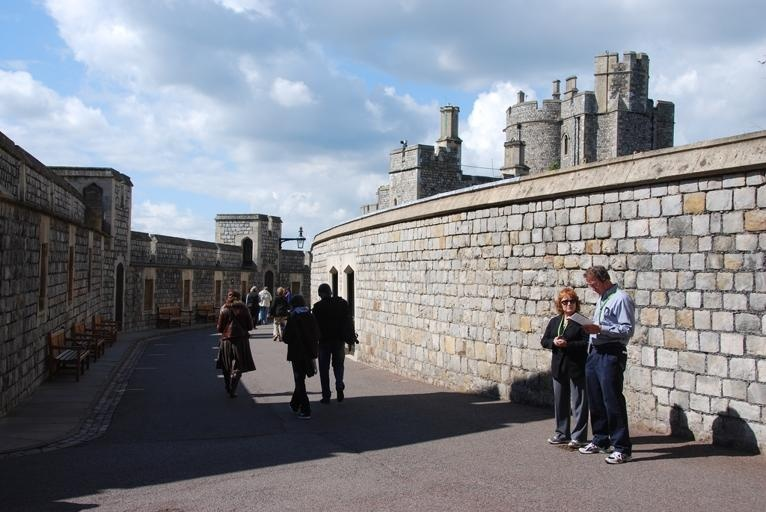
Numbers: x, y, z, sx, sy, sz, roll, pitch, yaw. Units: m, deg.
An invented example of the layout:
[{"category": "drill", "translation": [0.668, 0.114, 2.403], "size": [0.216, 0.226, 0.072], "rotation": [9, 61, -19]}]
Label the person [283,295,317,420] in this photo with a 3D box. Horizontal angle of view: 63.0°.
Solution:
[{"category": "person", "translation": [-1.414, 1.669, 10.773], "size": [0.591, 1.969, 0.957], "rotation": [-1, 2, -7]}]

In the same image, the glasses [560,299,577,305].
[{"category": "glasses", "translation": [2.574, 0.632, 8.652], "size": [0.197, 0.086, 0.078], "rotation": [0, 2, 8]}]

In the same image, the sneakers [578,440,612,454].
[{"category": "sneakers", "translation": [2.836, 2.566, 8.383], "size": [0.403, 0.198, 0.160], "rotation": [3, -4, 6]}]

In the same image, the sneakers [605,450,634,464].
[{"category": "sneakers", "translation": [3.062, 2.581, 8.109], "size": [0.375, 0.180, 0.140], "rotation": [4, 1, -11]}]

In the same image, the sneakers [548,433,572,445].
[{"category": "sneakers", "translation": [2.484, 2.552, 8.827], "size": [0.321, 0.145, 0.130], "rotation": [3, 2, 5]}]

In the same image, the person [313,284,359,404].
[{"category": "person", "translation": [-0.899, 1.595, 11.495], "size": [0.769, 2.158, 1.008], "rotation": [-1, 2, -5]}]

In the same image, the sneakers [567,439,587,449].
[{"category": "sneakers", "translation": [2.675, 2.558, 8.596], "size": [0.265, 0.128, 0.097], "rotation": [11, -6, -20]}]

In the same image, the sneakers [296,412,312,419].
[{"category": "sneakers", "translation": [-1.333, 2.629, 10.448], "size": [0.244, 0.111, 0.097], "rotation": [-3, -4, 39]}]

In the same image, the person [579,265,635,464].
[{"category": "person", "translation": [2.938, 1.387, 8.236], "size": [0.657, 2.497, 0.556], "rotation": [0, 2, 24]}]

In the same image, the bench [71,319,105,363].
[{"category": "bench", "translation": [-7.511, 2.158, 15.883], "size": [0.438, 0.704, 1.116], "rotation": [-1, 1, -5]}]

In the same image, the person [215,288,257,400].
[{"category": "person", "translation": [-2.887, 1.682, 12.224], "size": [0.682, 1.994, 1.020], "rotation": [-1, 2, -15]}]

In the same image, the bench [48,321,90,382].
[{"category": "bench", "translation": [-7.055, 2.161, 13.993], "size": [0.493, 0.748, 1.244], "rotation": [0, 2, -6]}]

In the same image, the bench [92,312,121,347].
[{"category": "bench", "translation": [-8.678, 2.289, 19.576], "size": [0.411, 0.667, 1.096], "rotation": [0, 2, -5]}]
